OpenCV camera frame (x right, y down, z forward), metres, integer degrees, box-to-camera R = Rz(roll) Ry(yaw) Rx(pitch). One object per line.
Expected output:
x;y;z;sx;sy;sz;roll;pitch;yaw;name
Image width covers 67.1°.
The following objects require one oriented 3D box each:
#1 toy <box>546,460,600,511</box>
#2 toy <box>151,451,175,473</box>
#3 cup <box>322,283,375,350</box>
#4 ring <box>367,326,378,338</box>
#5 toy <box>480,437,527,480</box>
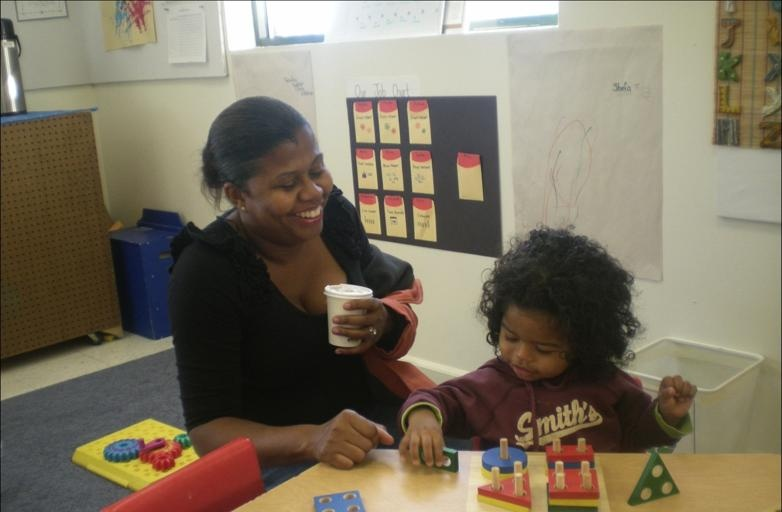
0.279;0.349;0.907;0.074;0.063;0.064;-1;11;12;toy
-0.810;0.732;2.079;0.071;0.021;0.065;12;22;10;toy
-0.108;0.136;1.344;0.144;0.122;0.132;4;3;0;cup
-0.042;0.174;1.330;0.024;0.019;0.017;12;33;10;ring
0.182;0.338;0.970;0.072;0.044;0.066;-2;6;-5;toy
